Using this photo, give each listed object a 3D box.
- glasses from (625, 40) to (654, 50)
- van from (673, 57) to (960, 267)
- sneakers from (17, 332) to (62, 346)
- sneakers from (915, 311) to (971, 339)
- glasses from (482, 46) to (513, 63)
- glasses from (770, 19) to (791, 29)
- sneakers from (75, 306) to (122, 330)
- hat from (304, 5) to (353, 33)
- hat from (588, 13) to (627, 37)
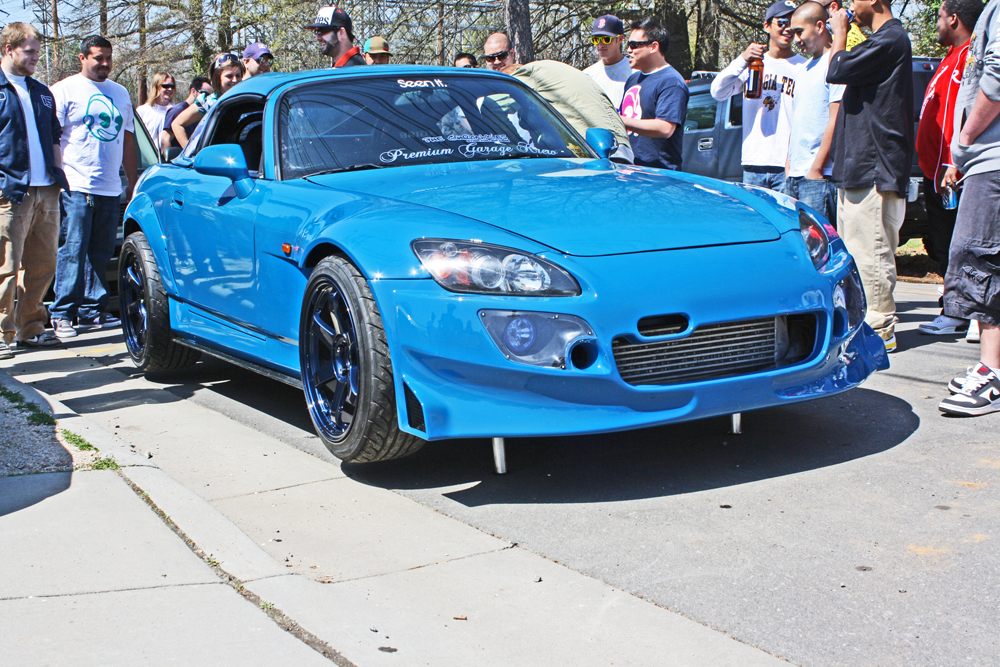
[{"bbox_3d":[1.187,-2.492,6.868,0.218,0.070,0.080,8,15,39],"label":"glasses"},{"bbox_3d":[4.616,-2.924,11.848,4.098,2.365,2.560,32,26,33],"label":"van"},{"bbox_3d":[-4.348,0.057,7.562,0.407,0.165,0.153,-2,8,-3],"label":"sneakers"},{"bbox_3d":[3.707,-0.066,6.674,0.634,0.252,0.232,1,1,-14],"label":"sneakers"},{"bbox_3d":[-0.057,-2.791,8.014,0.292,0.136,0.192,4,13,25],"label":"glasses"},{"bbox_3d":[2.545,-2.814,7.226,0.142,0.151,0.051,-2,0,2],"label":"glasses"},{"bbox_3d":[-4.245,-0.153,8.388,0.509,0.217,0.198,-7,15,-32],"label":"sneakers"},{"bbox_3d":[-1.713,-3.141,7.989,0.458,0.224,0.315,2,10,-28],"label":"hat"},{"bbox_3d":[0.969,-2.810,7.250,0.261,0.215,0.357,-1,12,4],"label":"hat"}]
